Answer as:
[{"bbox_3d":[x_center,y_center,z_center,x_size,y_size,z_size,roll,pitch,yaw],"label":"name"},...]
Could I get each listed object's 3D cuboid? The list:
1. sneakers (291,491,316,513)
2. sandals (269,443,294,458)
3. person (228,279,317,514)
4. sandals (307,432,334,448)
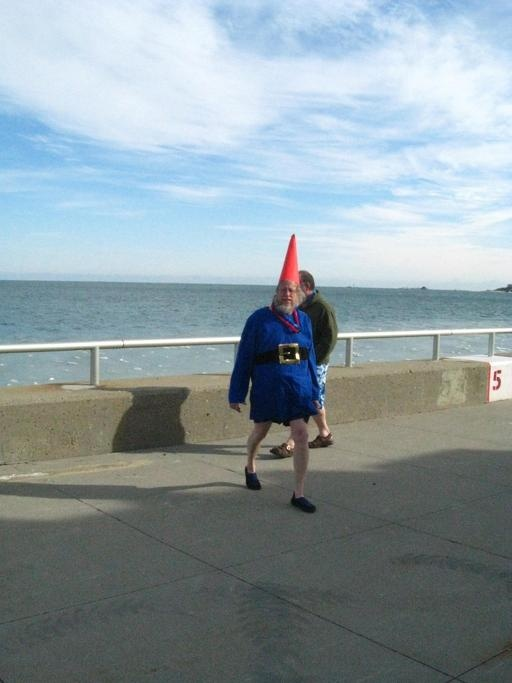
[{"bbox_3d":[0.318,1.066,4.292,0.158,0.082,0.247,4,5,0],"label":"sneakers"},{"bbox_3d":[0.245,0.975,5.793,0.122,0.108,0.263,-12,-18,31],"label":"sandals"},{"bbox_3d":[0.217,0.339,4.536,0.779,1.523,0.499,8,6,35],"label":"person"},{"bbox_3d":[0.630,0.939,6.122,0.262,0.110,0.098,-6,-5,-13],"label":"sandals"}]
